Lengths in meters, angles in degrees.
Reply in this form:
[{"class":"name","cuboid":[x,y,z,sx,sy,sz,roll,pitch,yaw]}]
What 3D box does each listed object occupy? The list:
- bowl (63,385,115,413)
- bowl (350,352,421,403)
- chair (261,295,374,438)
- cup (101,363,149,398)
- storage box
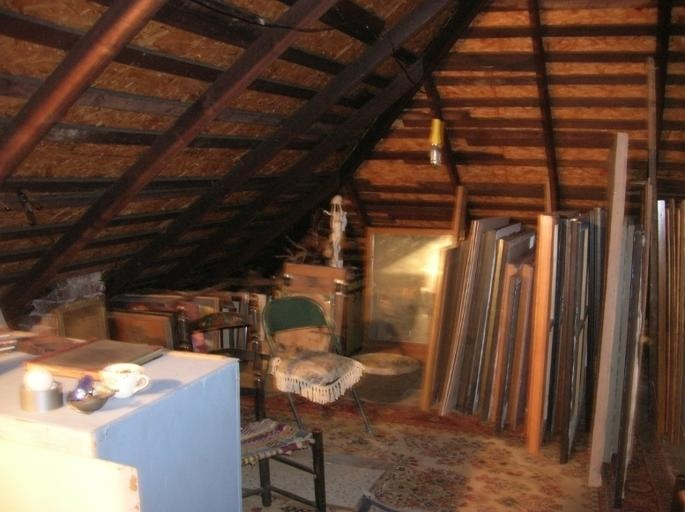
[{"class":"bowl","cuboid":[-0.710,0.387,1.492,0.088,0.044,0.082,-2,-5,0]},{"class":"bowl","cuboid":[0.346,0.900,4.436,0.732,0.148,0.640,4,16,3]},{"class":"chair","cuboid":[-0.159,0.704,3.377,0.780,0.754,0.707,7,15,-14]},{"class":"cup","cuboid":[-0.637,0.365,1.576,0.102,0.052,0.105,1,-9,0]},{"class":"storage box","cuboid":[-0.051,0.439,5.177,0.945,0.858,0.882,7,5,26]}]
